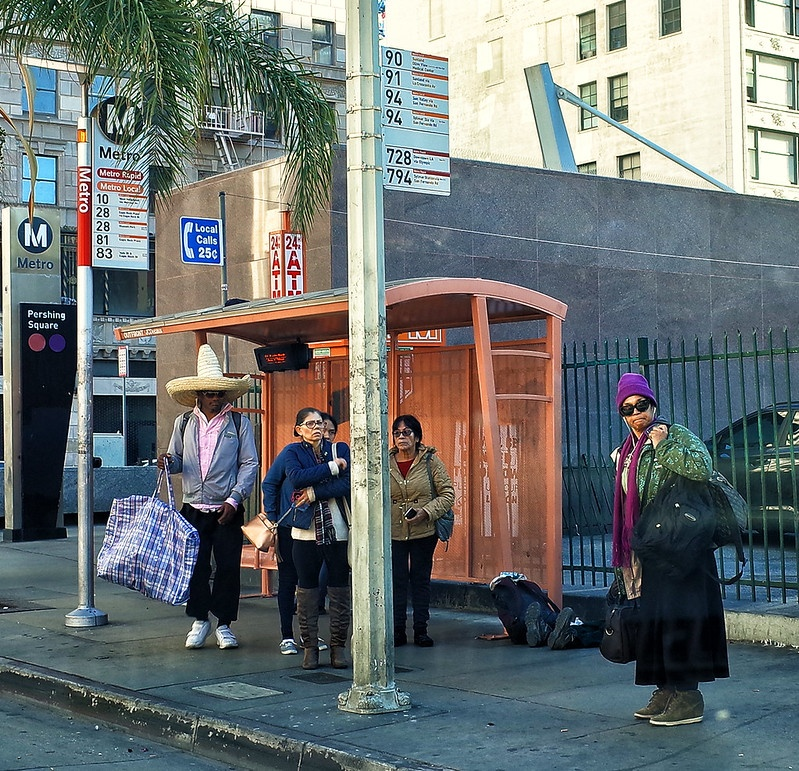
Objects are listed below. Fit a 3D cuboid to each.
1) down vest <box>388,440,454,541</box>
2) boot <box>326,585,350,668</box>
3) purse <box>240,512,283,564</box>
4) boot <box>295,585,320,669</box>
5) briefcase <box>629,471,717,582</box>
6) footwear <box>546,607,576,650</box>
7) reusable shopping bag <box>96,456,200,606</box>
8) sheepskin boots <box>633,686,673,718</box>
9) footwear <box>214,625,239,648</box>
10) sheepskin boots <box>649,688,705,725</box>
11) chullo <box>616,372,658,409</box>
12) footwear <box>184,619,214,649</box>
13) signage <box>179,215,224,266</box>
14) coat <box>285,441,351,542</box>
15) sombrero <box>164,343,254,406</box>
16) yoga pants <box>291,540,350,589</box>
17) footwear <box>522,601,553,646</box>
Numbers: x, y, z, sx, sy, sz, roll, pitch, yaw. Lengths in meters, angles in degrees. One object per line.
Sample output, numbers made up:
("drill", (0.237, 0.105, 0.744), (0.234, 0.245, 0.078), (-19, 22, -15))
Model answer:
("down vest", (0.155, 0.855, 9.936), (0.751, 0.847, 0.438), (-5, -12, 27))
("boot", (-0.427, 1.729, 9.005), (0.139, 0.586, 0.358), (-1, -4, -2))
("purse", (-1.096, 1.190, 9.995), (0.178, 0.323, 0.429), (-34, -5, -5))
("boot", (-0.647, 1.730, 8.989), (0.144, 0.580, 0.265), (-1, -4, -5))
("briefcase", (1.576, 0.845, 7.168), (0.413, 0.565, 0.218), (34, 0, 28))
("footwear", (1.281, 1.913, 9.803), (0.126, 0.369, 0.163), (4, -33, 40))
("reusable shopping bag", (-1.969, 1.280, 9.899), (0.877, 0.832, 0.314), (-3, -4, 28))
("sheepskin boots", (1.532, 1.855, 7.397), (0.285, 0.139, 0.100), (-10, 4, -17))
("footwear", (-1.349, 1.979, 9.941), (0.177, 0.173, 0.212), (-1, -4, -8))
("sheepskin boots", (1.577, 1.862, 7.266), (0.376, 0.241, 0.137), (2, -5, -4))
("chullo", (1.422, 0.005, 7.585), (0.181, 0.223, 0.244), (-14, -20, 1))
("footwear", (-1.579, 1.962, 9.985), (0.103, 0.139, 0.302), (1, 12, 14))
("signage", (-2.543, -1.864, 16.371), (0.688, 0.807, 0.037), (5, -16, -31))
("coat", (-0.580, 0.781, 9.058), (0.519, 0.853, 0.442), (3, -17, -11))
("sombrero", (-1.592, -0.075, 10.396), (0.445, 0.363, 0.646), (-2, -14, -6))
("yoga pants", (-0.552, 1.270, 9.014), (0.453, 0.492, 0.287), (-1, -11, -3))
("footwear", (1.072, 1.906, 9.916), (0.122, 0.410, 0.173), (-12, -33, 28))
